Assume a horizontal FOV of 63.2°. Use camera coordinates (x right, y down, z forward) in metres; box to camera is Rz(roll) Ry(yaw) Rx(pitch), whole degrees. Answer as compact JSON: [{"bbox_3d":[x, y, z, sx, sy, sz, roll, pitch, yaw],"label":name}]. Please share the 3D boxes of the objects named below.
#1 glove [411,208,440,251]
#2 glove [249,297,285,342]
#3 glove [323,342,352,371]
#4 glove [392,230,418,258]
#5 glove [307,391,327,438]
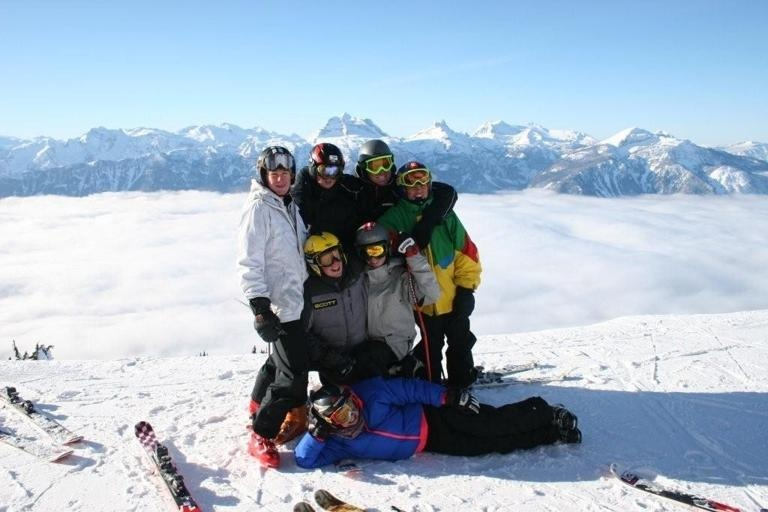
[{"bbox_3d":[0.779,-0.526,12.096,0.501,0.751,0.221,18,-18,-12],"label":"glove"},{"bbox_3d":[-2.154,1.133,11.152,0.552,0.763,0.289,-3,16,37],"label":"glove"},{"bbox_3d":[-0.884,1.942,11.988,0.538,0.458,0.373,-2,14,-1],"label":"glove"},{"bbox_3d":[0.409,-0.168,12.091,0.494,0.489,0.493,-4,14,-12],"label":"glove"},{"bbox_3d":[-1.204,2.837,11.175,0.393,0.711,0.536,7,13,-12],"label":"glove"}]
